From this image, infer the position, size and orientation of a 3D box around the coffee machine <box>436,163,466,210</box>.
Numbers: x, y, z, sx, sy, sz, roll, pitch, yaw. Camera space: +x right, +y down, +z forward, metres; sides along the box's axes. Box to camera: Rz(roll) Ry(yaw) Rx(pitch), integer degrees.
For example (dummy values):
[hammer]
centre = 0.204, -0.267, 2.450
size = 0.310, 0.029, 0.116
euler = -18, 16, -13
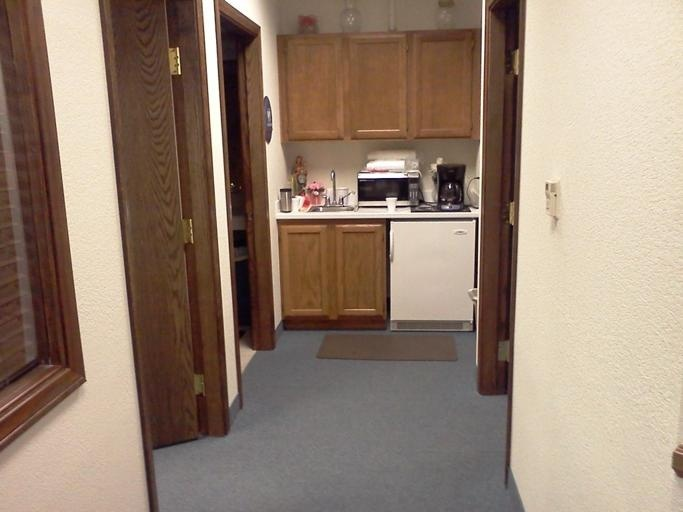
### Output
[coffee machine]
centre = 0.879, -0.563, 4.438
size = 0.212, 0.346, 0.328
euler = 1, 14, 9

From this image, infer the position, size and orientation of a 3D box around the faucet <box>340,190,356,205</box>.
[faucet]
centre = 0.062, -0.510, 4.900
size = 0.155, 0.119, 0.093
euler = 3, 11, 13

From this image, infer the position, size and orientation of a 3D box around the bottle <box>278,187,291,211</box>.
[bottle]
centre = -0.439, -0.441, 4.383
size = 0.116, 0.186, 0.070
euler = -8, 15, -26

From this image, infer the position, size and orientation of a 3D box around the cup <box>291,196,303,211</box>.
[cup]
centre = -0.363, -0.435, 4.510
size = 0.105, 0.111, 0.105
euler = 1, 20, 0

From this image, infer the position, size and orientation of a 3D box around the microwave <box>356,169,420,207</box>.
[microwave]
centre = 0.389, -0.580, 4.647
size = 0.443, 0.308, 0.319
euler = 0, 7, 7
